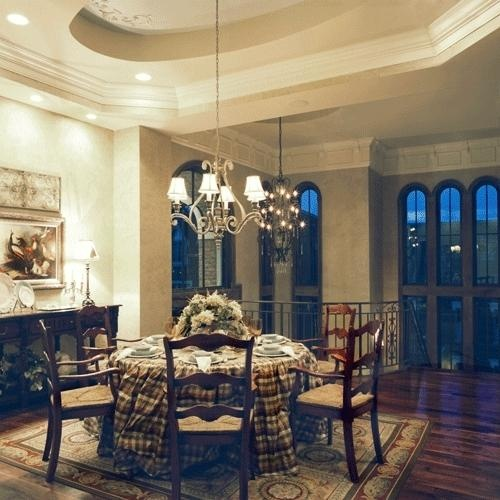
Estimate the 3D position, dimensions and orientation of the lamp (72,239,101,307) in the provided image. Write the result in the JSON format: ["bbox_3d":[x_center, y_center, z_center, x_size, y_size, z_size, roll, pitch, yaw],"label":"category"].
[{"bbox_3d":[-1.903,0.261,5.615,0.267,0.765,0.669,0,-1,-19],"label":"lamp"}]

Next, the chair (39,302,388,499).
[{"bbox_3d":[-0.206,1.050,3.471,2.454,1.108,1.337,0,-1,-18],"label":"chair"}]

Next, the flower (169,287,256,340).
[{"bbox_3d":[-0.309,0.512,3.831,0.414,0.320,0.440,2,-8,7],"label":"flower"}]
